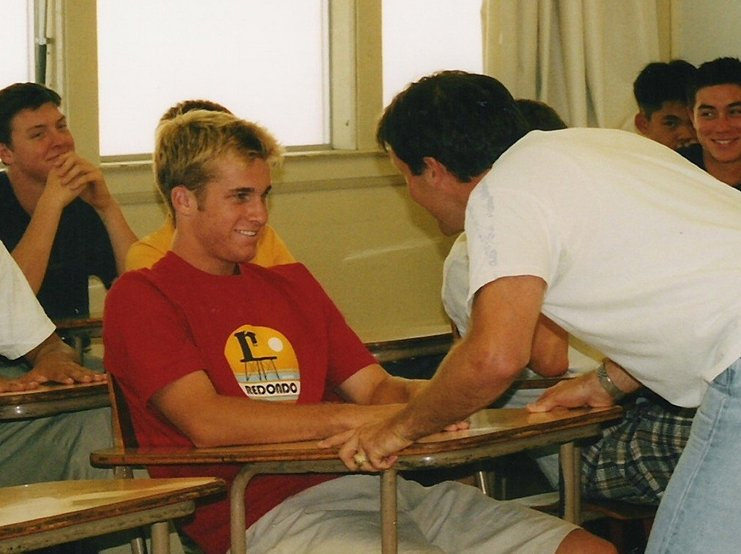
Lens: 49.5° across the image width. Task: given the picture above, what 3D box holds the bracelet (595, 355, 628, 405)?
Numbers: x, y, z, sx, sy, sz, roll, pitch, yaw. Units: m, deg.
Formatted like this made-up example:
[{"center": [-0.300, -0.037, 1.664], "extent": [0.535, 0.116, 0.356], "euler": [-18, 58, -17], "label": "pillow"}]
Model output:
[{"center": [0.540, 0.242, 1.800], "extent": [0.023, 0.079, 0.072], "euler": [-37, 28, 14], "label": "bracelet"}]
